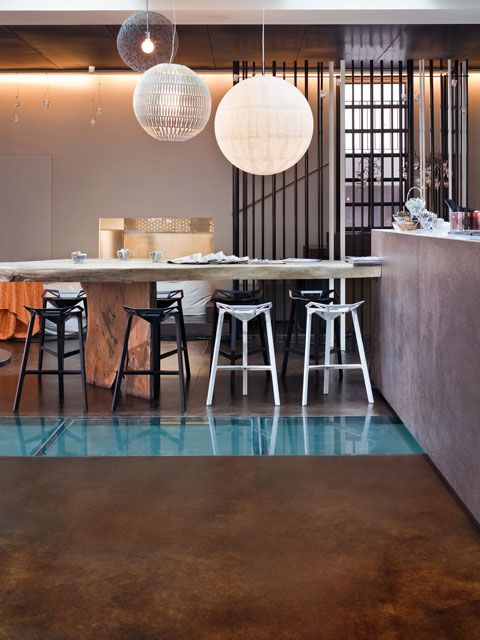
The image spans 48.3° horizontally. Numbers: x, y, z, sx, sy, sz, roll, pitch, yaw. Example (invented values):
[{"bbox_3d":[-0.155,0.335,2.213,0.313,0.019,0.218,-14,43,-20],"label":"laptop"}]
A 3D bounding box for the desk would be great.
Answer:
[{"bbox_3d":[-0.526,0.060,4.073,2.300,1.004,0.932,-1,9,-9],"label":"desk"}]

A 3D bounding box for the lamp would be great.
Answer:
[{"bbox_3d":[-0.244,-1.327,3.176,0.766,0.904,1.218,-8,12,-43],"label":"lamp"}]
